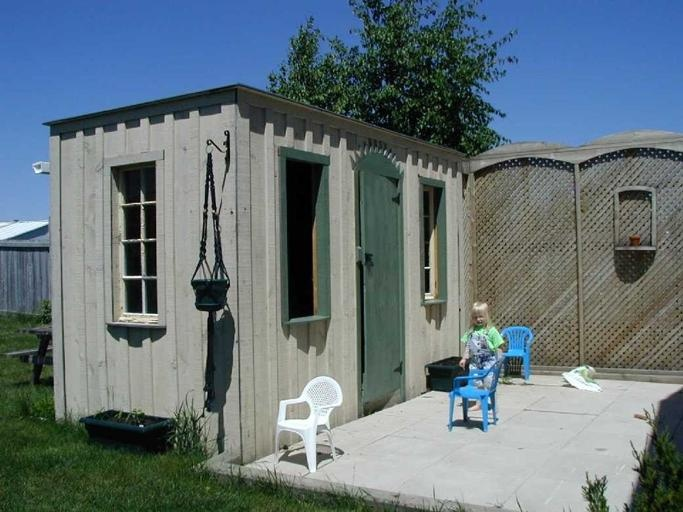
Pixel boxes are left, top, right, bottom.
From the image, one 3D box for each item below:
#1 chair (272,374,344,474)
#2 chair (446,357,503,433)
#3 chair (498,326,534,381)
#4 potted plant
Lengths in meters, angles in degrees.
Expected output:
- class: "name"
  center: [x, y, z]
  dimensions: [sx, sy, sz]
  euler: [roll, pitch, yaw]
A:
- class: "chair"
  center: [-0.345, 1.723, 7.685]
  dimensions: [0.535, 0.858, 0.558]
  euler: [0, -6, 40]
- class: "chair"
  center: [1.561, 1.635, 8.888]
  dimensions: [0.636, 1.033, 0.752]
  euler: [-1, -3, 20]
- class: "chair"
  center: [2.618, 1.495, 11.103]
  dimensions: [0.446, 0.766, 0.507]
  euler: [1, -5, 14]
- class: "potted plant"
  center: [-2.285, 1.913, 7.992]
  dimensions: [1.072, 0.406, 0.376]
  euler: [3, 7, 25]
